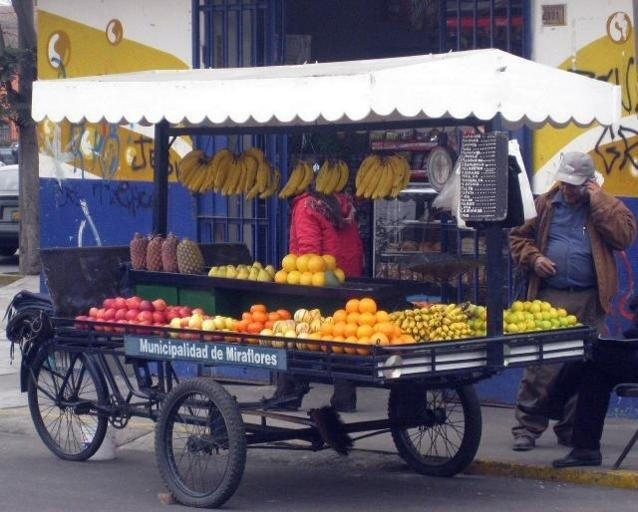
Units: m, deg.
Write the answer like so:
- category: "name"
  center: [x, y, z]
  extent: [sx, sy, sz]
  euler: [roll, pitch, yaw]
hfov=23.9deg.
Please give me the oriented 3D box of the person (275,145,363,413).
- category: "person"
  center: [0.080, 0.227, 13.684]
  extent: [0.813, 2.368, 0.777]
  euler: [4, 11, 9]

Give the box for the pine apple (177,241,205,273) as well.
- category: "pine apple"
  center: [-1.106, 0.024, 12.952]
  extent: [0.162, 0.283, 0.169]
  euler: [-16, -8, -8]

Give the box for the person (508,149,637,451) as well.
- category: "person"
  center: [2.244, 0.496, 13.150]
  extent: [0.953, 2.756, 0.988]
  euler: [0, 0, 13]
